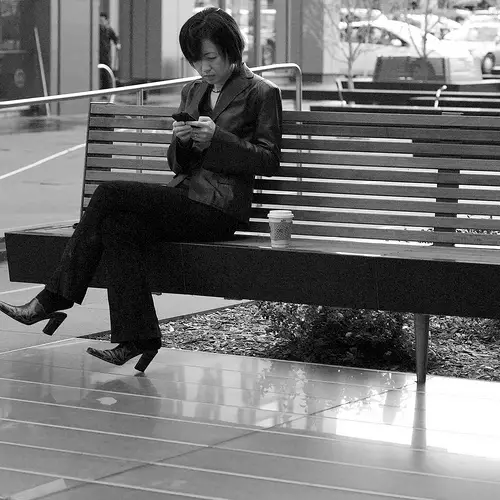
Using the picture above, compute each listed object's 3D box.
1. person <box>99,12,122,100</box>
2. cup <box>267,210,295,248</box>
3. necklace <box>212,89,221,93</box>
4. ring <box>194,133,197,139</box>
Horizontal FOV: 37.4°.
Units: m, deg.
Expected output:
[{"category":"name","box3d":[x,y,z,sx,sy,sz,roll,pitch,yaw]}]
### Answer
[{"category":"person","box3d":[-2.730,-4.004,14.522,0.382,1.275,0.477,-9,21,-8]},{"category":"cup","box3d":[0.123,-0.081,2.886,0.133,0.134,0.128,0,-6,0]},{"category":"necklace","box3d":[-0.147,-0.699,3.243,0.030,0.007,0.028,1,-2,39]},{"category":"ring","box3d":[-0.214,-0.457,2.942,0.017,0.015,0.004,7,-5,38]}]
